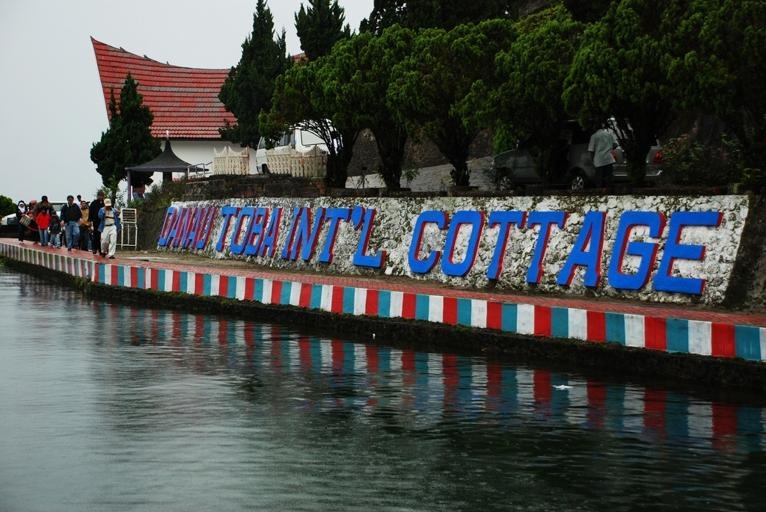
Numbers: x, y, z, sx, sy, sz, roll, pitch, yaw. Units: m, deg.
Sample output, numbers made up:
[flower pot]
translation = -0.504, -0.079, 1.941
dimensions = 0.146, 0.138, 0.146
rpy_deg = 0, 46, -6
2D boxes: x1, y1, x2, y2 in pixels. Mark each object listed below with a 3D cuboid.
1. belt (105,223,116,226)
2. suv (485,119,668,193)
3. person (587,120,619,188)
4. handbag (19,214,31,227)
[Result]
[belt]
translation = -7.664, -0.867, 34.473
dimensions = 0.286, 0.077, 0.116
rpy_deg = -1, 10, -5
[suv]
translation = 4.839, -2.439, 31.749
dimensions = 1.840, 1.986, 4.956
rpy_deg = -2, 6, -29
[person]
translation = 4.913, -2.229, 27.536
dimensions = 0.617, 1.404, 1.959
rpy_deg = 2, 10, 10
[handbag]
translation = -12.866, -1.234, 44.211
dimensions = 0.474, 0.342, 0.330
rpy_deg = 3, -11, 42
